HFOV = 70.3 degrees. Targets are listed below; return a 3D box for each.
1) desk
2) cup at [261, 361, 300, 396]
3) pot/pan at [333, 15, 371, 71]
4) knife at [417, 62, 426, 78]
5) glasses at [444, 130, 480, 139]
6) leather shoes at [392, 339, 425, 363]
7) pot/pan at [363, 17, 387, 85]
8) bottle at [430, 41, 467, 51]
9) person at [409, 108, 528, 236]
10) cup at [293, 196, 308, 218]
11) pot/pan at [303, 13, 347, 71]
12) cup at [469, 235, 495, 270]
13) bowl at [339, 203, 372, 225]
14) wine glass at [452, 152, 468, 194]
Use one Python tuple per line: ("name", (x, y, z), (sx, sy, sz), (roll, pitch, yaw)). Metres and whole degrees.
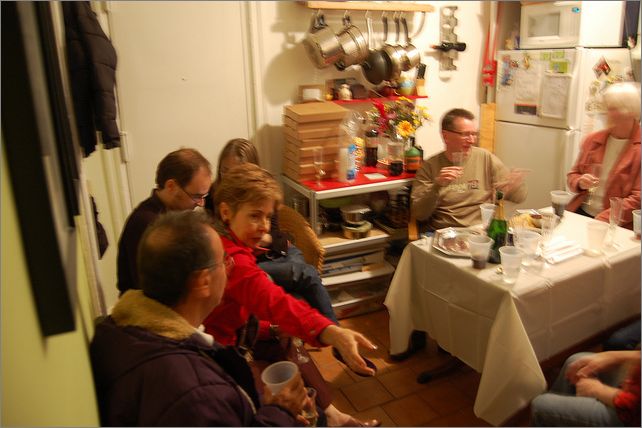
("desk", (0.197, 0.201, 3.194), (0.988, 0.963, 0.532), (-9, 28, -20))
("cup", (-0.156, 0.592, 1.698), (0.109, 0.086, 0.109), (-3, 27, 1))
("pot/pan", (0.170, -1.341, 3.656), (0.379, 0.239, 0.369), (-29, 29, -17))
("knife", (0.886, -1.256, 3.990), (0.122, 0.122, 0.029), (-1, 14, -25))
("glasses", (1.021, -0.577, 3.284), (0.202, 0.061, 0.065), (-3, 19, -2))
("leather shoes", (0.615, 0.911, 3.127), (0.308, 0.130, 0.098), (-9, 18, -39))
("pot/pan", (0.421, -1.337, 3.722), (0.149, 0.504, 0.223), (-9, 7, 16))
("bottle", (1.167, -1.507, 4.112), (0.380, 0.089, 0.071), (-12, 21, -25))
("person", (1.087, -0.311, 3.429), (0.798, 1.115, 0.604), (-11, 23, -9))
("cup", (-0.157, -0.062, 3.476), (0.157, 0.206, 0.133), (1, 11, 2))
("pot/pan", (0.008, -1.333, 3.491), (0.258, 0.422, 0.328), (-9, 20, -17))
("cup", (0.822, 0.190, 2.425), (0.152, 0.167, 0.155), (1, 17, 0))
("bowl", (0.261, -0.010, 3.479), (0.175, 0.095, 0.155), (-2, 10, -17))
("wine glass", (0.987, -0.301, 3.247), (0.133, 0.299, 0.142), (0, 41, 24))
